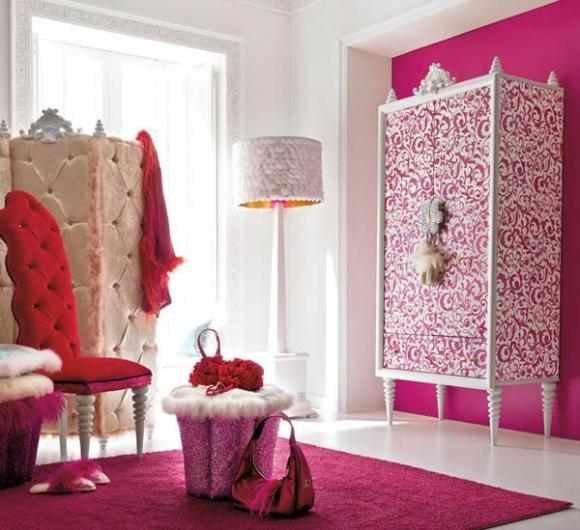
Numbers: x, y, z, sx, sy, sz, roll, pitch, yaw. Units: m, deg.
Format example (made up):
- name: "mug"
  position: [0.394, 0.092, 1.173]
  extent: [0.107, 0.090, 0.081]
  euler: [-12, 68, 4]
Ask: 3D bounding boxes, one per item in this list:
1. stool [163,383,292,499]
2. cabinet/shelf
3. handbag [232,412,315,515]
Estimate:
- name: "stool"
  position: [-0.268, 0.793, 2.742]
  extent: [0.411, 0.389, 0.453]
  euler: [-5, -20, 19]
- name: "cabinet/shelf"
  position: [1.083, -0.106, 4.068]
  extent: [1.163, 1.913, 0.616]
  euler: [1, 0, 29]
- name: "handbag"
  position: [-0.077, 0.843, 2.713]
  extent: [0.388, 0.473, 0.188]
  euler: [-2, -4, 38]
